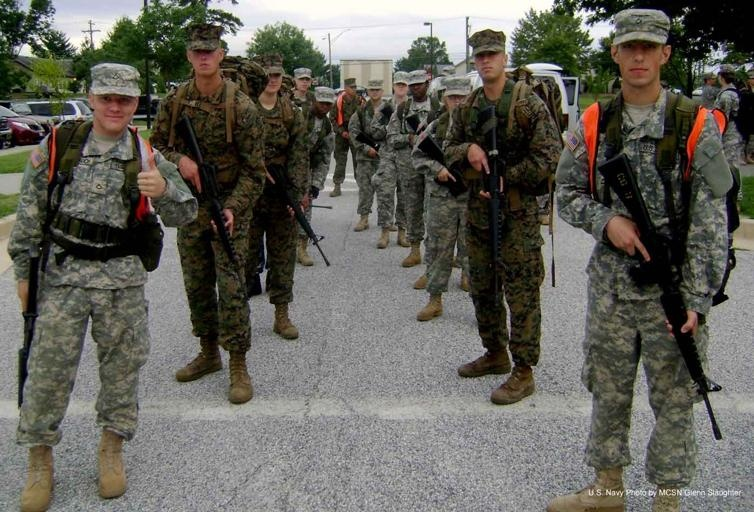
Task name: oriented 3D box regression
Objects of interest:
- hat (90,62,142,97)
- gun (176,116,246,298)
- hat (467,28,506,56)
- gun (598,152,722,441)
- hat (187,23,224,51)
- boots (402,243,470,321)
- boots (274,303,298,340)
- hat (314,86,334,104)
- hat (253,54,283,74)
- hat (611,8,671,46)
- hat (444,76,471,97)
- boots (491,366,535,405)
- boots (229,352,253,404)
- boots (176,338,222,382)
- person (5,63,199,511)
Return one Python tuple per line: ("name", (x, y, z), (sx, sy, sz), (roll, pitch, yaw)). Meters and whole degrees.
("hat", (-1.689, -1.128, 4.086), (0.315, 0.219, 0.252), (-7, 15, -21))
("gun", (-1.313, -0.458, 5.083), (0.165, 1.417, 0.425), (-21, 0, -29))
("hat", (0.890, -1.699, 5.083), (0.273, 0.198, 0.224), (0, 14, 5))
("gun", (1.623, 0.172, 3.672), (0.481, 1.739, 0.191), (-18, 4, 17))
("hat", (-1.348, -1.718, 4.994), (0.271, 0.221, 0.231), (-5, 15, -14))
("boots", (0.701, 0.385, 7.321), (0.386, 0.500, 1.226), (7, 10, 36))
("boots", (-0.912, 0.632, 6.374), (0.136, 0.325, 0.358), (-2, 10, -42))
("hat", (-0.742, -2.329, 9.170), (0.293, 0.201, 0.381), (1, 11, -9))
("hat", (-1.122, -2.074, 6.768), (0.343, 0.144, 0.445), (-2, 15, -14))
("hat", (1.544, -1.334, 3.698), (0.303, 0.212, 0.201), (3, 15, 17))
("hat", (0.943, -1.999, 7.358), (0.376, 0.255, 0.493), (0, 3, 8))
("boots", (1.096, 1.005, 5.078), (0.422, 0.261, 0.151), (-15, 14, -29))
("boots", (-1.133, 0.932, 5.212), (0.205, 0.342, 0.531), (-2, 19, -14))
("boots", (-1.479, 0.905, 5.560), (0.188, 0.352, 0.527), (11, 12, 44))
("person", (-1.894, 0.124, 4.115), (0.675, 2.652, 1.320), (10, 18, 37))
